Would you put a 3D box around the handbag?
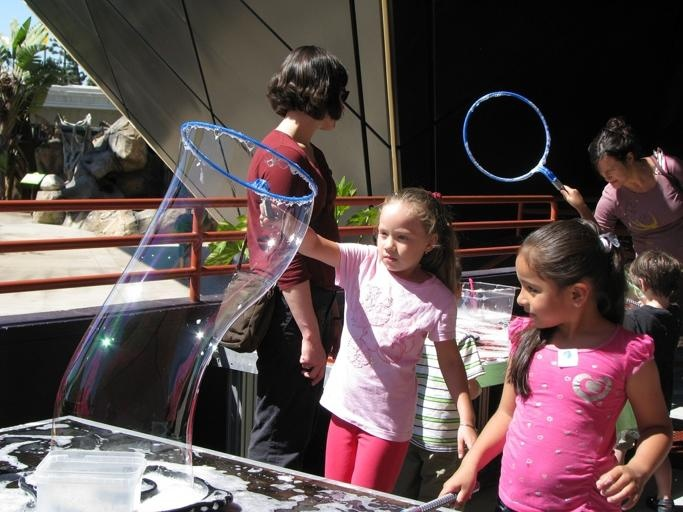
[{"bbox_3d":[-0.258,0.164,1.486,0.089,0.233,0.185,12,20,-48],"label":"handbag"}]
